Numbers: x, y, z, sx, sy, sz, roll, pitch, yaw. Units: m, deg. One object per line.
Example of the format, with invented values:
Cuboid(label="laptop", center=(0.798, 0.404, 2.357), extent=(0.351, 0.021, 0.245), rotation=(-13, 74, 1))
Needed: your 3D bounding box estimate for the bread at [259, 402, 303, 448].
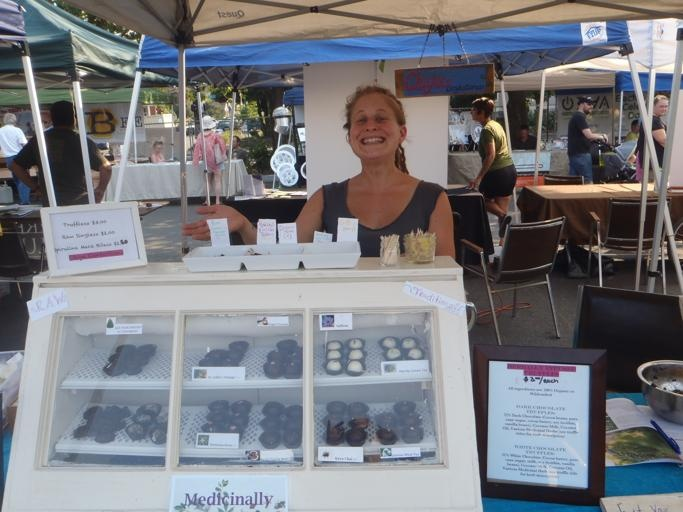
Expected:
Cuboid(label="bread", center=(-0.189, 0.529, 1.722), extent=(0.124, 0.029, 0.120), rotation=(-2, 41, 4))

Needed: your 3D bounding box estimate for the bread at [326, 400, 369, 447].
Cuboid(label="bread", center=(0.017, 0.527, 1.715), extent=(0.111, 0.042, 0.131), rotation=(4, 16, 7))

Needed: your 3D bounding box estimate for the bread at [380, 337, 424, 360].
Cuboid(label="bread", center=(0.204, 0.304, 1.759), extent=(0.106, 0.034, 0.079), rotation=(0, 14, 0))

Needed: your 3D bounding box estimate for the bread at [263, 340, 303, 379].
Cuboid(label="bread", center=(-0.179, 0.342, 1.741), extent=(0.110, 0.042, 0.126), rotation=(2, 41, 2))

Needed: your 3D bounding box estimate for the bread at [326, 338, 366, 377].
Cuboid(label="bread", center=(0.009, 0.325, 1.743), extent=(0.097, 0.036, 0.121), rotation=(1, 17, 1))

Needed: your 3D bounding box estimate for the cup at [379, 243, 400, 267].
Cuboid(label="cup", center=(0.159, 0.004, 1.766), extent=(0.069, 0.091, 0.068), rotation=(1, -1, 0))

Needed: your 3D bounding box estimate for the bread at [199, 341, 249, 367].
Cuboid(label="bread", center=(-0.376, 0.325, 1.761), extent=(0.113, 0.036, 0.075), rotation=(-16, 22, -33))

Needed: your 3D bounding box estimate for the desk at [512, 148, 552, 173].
Cuboid(label="desk", center=(4.468, -2.214, 12.842), extent=(1.010, 0.504, 0.582), rotation=(-1, 10, 6))

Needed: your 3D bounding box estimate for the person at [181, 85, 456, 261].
Cuboid(label="person", center=(0.154, -0.395, 2.517), extent=(0.665, 0.780, 0.422), rotation=(7, 14, 42))

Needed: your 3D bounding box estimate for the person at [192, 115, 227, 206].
Cuboid(label="person", center=(-2.507, -1.725, 10.202), extent=(0.659, 1.647, 0.620), rotation=(-5, 4, -30))

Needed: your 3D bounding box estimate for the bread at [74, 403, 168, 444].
Cuboid(label="bread", center=(-0.693, 0.536, 1.737), extent=(0.241, 0.055, 0.134), rotation=(1, 35, -4))

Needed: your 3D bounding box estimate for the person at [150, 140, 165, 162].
Cuboid(label="person", center=(-3.908, -2.216, 11.557), extent=(0.283, 0.502, 1.041), rotation=(-6, 11, -18))

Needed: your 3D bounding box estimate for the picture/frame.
Cuboid(label="picture/frame", center=(0.620, 0.546, 1.678), extent=(0.488, 0.558, 0.056), rotation=(2, -6, 3))

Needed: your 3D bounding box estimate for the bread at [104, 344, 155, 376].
Cuboid(label="bread", center=(-0.679, 0.339, 1.764), extent=(0.117, 0.028, 0.118), rotation=(2, 47, 12))

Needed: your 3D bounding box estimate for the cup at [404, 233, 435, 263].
Cuboid(label="cup", center=(0.253, -0.025, 1.827), extent=(0.102, 0.096, 0.100), rotation=(0, 1, 0))

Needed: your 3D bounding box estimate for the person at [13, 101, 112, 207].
Cuboid(label="person", center=(-2.733, -1.012, 5.368), extent=(0.871, 1.000, 1.354), rotation=(-8, 12, -29))
